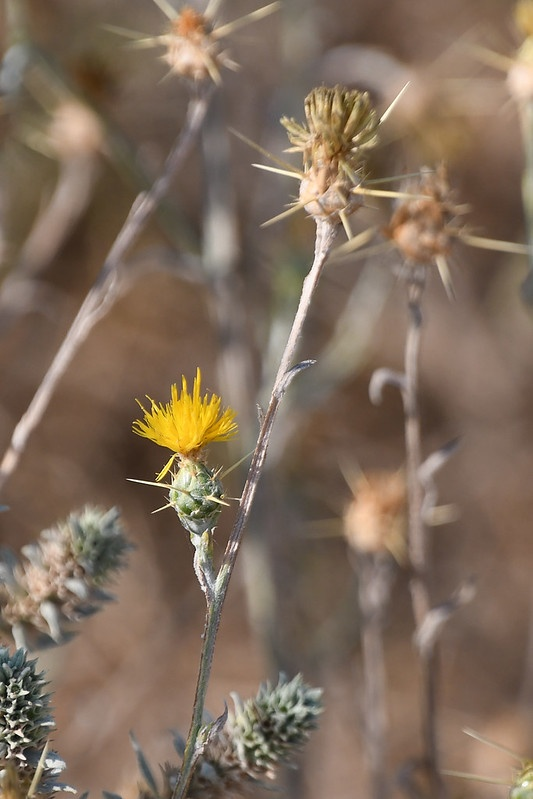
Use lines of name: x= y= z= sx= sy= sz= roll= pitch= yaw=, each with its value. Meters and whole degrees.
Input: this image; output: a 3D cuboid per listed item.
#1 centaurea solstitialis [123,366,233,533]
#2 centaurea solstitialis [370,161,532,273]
centaurea solstitialis: x=-0.044 y=0.047 z=0.803 sx=0.107 sy=0.112 sz=0.087 roll=1 pitch=-1 yaw=-32
centaurea solstitialis: x=0.178 y=-0.169 z=1.015 sx=0.121 sy=0.099 sz=0.089 roll=18 pitch=-49 yaw=-12
